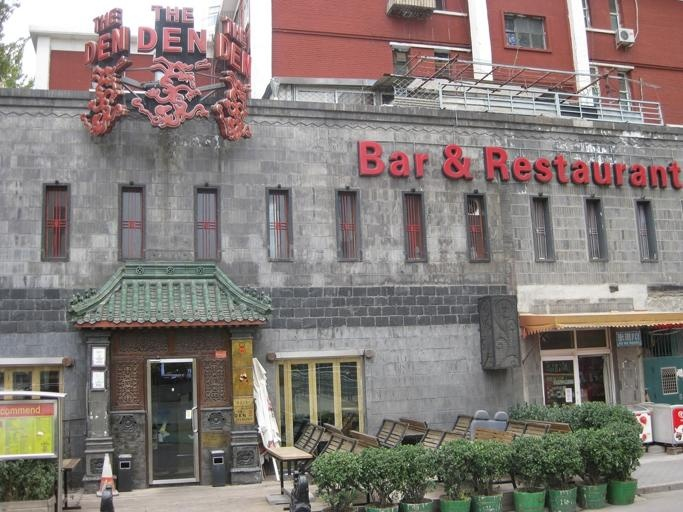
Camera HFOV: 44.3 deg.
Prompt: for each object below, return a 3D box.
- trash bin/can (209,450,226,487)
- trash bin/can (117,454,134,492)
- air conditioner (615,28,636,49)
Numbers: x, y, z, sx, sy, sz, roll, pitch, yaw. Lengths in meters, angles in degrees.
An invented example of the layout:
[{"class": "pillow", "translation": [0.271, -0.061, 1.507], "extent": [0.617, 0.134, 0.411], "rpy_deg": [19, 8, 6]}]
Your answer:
[{"class": "trash bin/can", "translation": [-3.328, 5.674, 22.612], "extent": [0.406, 0.943, 0.295], "rpy_deg": [-1, -11, -9]}, {"class": "trash bin/can", "translation": [-5.716, 5.700, 22.191], "extent": [0.395, 0.946, 0.257], "rpy_deg": [0, -12, -16]}, {"class": "air conditioner", "translation": [12.695, -9.784, 37.752], "extent": [0.863, 0.840, 0.448], "rpy_deg": [3, -8, -32]}]
